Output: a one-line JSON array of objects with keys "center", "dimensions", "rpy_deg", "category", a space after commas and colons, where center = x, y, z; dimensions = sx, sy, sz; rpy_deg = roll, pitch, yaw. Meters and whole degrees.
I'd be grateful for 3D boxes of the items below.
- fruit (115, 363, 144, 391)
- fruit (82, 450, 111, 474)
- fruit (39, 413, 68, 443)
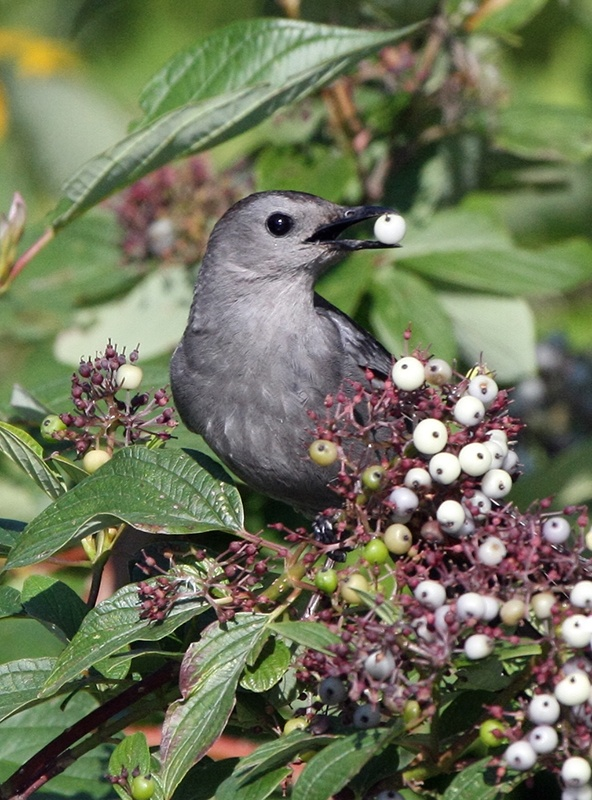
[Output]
[{"center": [-0.387, -0.053, 2.137], "dimensions": [0.068, 0.065, 0.067], "rpy_deg": [-3, 11, -37], "category": "fruit"}, {"center": [-0.435, 0.135, 2.008], "dimensions": [0.052, 0.047, 0.046], "rpy_deg": [2, 18, 20], "category": "fruit"}, {"center": [-0.547, 0.063, 2.076], "dimensions": [0.068, 0.058, 0.059], "rpy_deg": [4, 6, 10], "category": "fruit"}]
